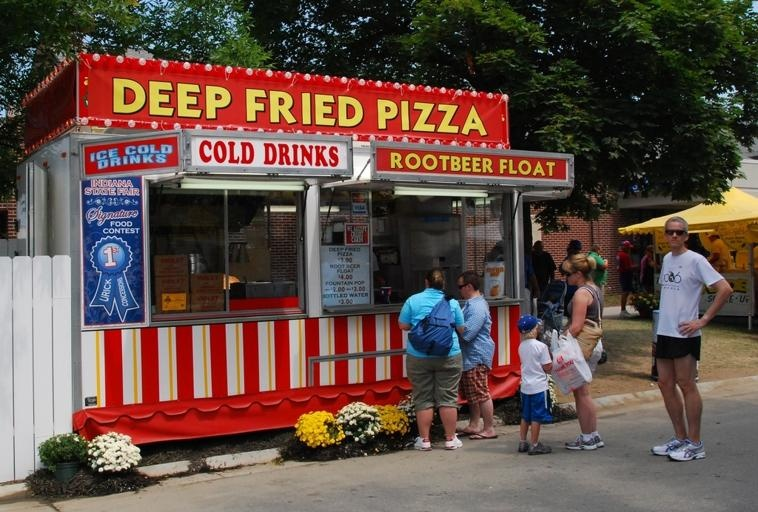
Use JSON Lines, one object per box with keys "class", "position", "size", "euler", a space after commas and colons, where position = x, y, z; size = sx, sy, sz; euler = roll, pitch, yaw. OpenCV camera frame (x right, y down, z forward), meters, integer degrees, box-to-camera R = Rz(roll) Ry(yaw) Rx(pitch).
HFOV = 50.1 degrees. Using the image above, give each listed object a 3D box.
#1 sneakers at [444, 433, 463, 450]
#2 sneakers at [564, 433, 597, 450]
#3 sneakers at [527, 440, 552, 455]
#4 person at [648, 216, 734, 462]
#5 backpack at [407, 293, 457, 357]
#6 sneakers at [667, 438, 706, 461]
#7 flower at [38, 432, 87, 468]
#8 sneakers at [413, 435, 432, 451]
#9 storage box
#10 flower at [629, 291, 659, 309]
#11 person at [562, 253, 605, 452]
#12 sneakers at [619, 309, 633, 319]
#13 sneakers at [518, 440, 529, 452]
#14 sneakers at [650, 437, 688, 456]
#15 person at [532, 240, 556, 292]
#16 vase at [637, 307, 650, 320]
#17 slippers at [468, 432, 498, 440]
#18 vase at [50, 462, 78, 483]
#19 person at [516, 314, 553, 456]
{"class": "sneakers", "position": [1.012, 2.478, 10.855], "size": [0.124, 0.129, 0.309], "euler": [-1, -1, 29]}
{"class": "sneakers", "position": [2.567, 2.378, 10.387], "size": [0.423, 0.172, 0.156], "euler": [0, -2, 23]}
{"class": "sneakers", "position": [2.066, 2.444, 10.319], "size": [0.349, 0.130, 0.127], "euler": [0, -3, -14]}
{"class": "person", "position": [3.709, 0.997, 9.772], "size": [0.829, 2.884, 0.645], "euler": [1, 6, 28]}
{"class": "backpack", "position": [0.759, 0.919, 10.676], "size": [0.583, 0.727, 0.308], "euler": [19, 8, 6]}
{"class": "sneakers", "position": [3.678, 2.348, 9.788], "size": [0.512, 0.206, 0.180], "euler": [-1, -4, -7]}
{"class": "flower", "position": [-3.818, 2.330, 9.796], "size": [0.466, 0.309, 0.495], "euler": [-1, -2, 42]}
{"class": "sneakers", "position": [0.575, 2.491, 10.904], "size": [0.251, 0.212, 0.360], "euler": [-2, 5, 2]}
{"class": "storage box", "position": [-2.589, 0.412, 10.955], "size": [0.931, 0.646, 0.280], "euler": [1, -5, -25]}
{"class": "flower", "position": [7.253, 1.194, 22.017], "size": [0.512, 0.315, 0.459], "euler": [1, 0, -26]}
{"class": "person", "position": [2.637, 1.219, 10.503], "size": [0.506, 2.455, 0.747], "euler": [-1, 6, 12]}
{"class": "sneakers", "position": [6.981, 1.649, 23.088], "size": [0.219, 0.226, 0.605], "euler": [0, -4, -16]}
{"class": "sneakers", "position": [1.851, 2.443, 10.423], "size": [0.086, 0.082, 0.211], "euler": [0, 0, 27]}
{"class": "sneakers", "position": [3.520, 2.343, 9.920], "size": [0.427, 0.171, 0.157], "euler": [-5, -8, 9]}
{"class": "person", "position": [3.708, 0.246, 18.385], "size": [0.485, 1.119, 1.759], "euler": [-1, 5, 11]}
{"class": "vase", "position": [7.208, 1.551, 22.107], "size": [0.330, 0.215, 0.306], "euler": [1, -3, -12]}
{"class": "slippers", "position": [1.421, 2.479, 11.244], "size": [0.360, 0.075, 0.127], "euler": [3, -6, -8]}
{"class": "vase", "position": [-3.740, 2.583, 9.722], "size": [0.255, 0.164, 0.243], "euler": [2, 1, -35]}
{"class": "person", "position": [1.972, 1.637, 10.273], "size": [0.461, 1.735, 0.421], "euler": [0, 6, 25]}
